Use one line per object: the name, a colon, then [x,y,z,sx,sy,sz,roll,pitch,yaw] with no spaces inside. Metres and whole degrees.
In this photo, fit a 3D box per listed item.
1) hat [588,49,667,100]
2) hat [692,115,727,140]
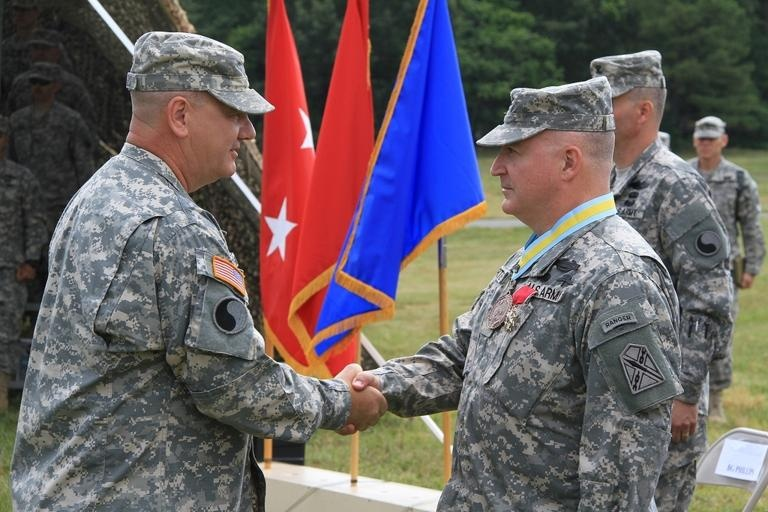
hat: [1.767,-1.330,10.374,0.463,0.271,0.354,-2,-1,-2]
hat: [3.453,-1.328,15.250,0.316,0.188,0.454,2,1,16]
